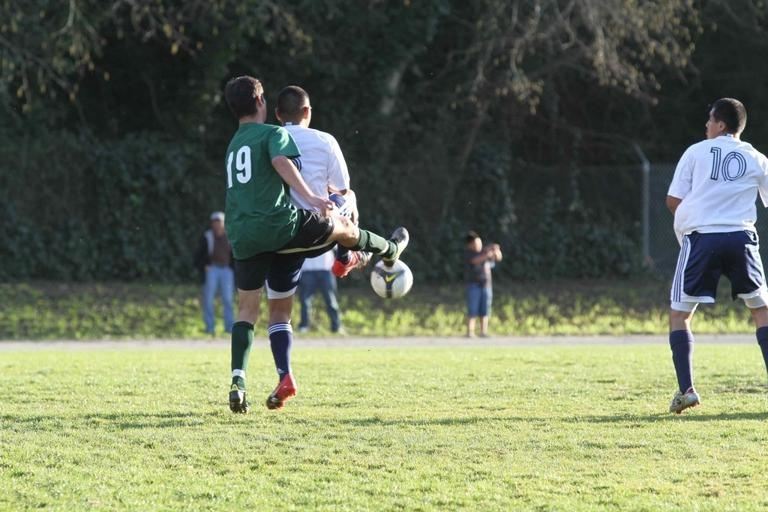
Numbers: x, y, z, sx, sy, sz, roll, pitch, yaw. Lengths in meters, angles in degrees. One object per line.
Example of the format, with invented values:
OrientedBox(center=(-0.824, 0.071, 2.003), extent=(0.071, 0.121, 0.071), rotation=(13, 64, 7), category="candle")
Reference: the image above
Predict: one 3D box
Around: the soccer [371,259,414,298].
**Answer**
OrientedBox(center=(0.144, 0.332, 20.427), extent=(0.525, 0.586, 0.576), rotation=(-2, 31, 3), category="soccer")

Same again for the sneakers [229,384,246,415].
OrientedBox(center=(-2.025, 1.995, 18.609), extent=(0.264, 0.443, 0.153), rotation=(-8, 11, -40), category="sneakers")
